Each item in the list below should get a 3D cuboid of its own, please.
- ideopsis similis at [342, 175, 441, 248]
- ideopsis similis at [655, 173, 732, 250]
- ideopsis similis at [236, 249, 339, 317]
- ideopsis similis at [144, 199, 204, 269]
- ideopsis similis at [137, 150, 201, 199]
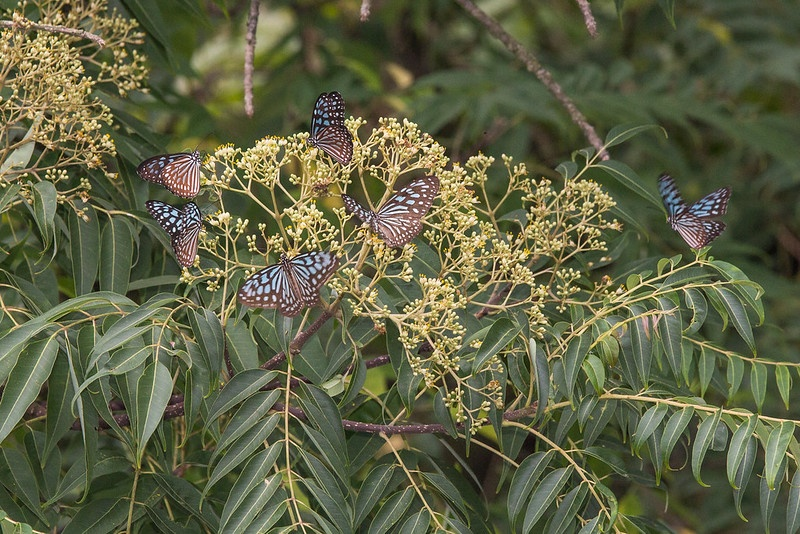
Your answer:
[{"bbox_3d":[-0.046,-0.215,4.180,0.350,0.193,0.101,-13,93,29],"label":"ideopsis similis"},{"bbox_3d":[1.032,-0.197,4.513,0.167,0.254,0.154,-11,95,1],"label":"ideopsis similis"},{"bbox_3d":[-0.345,0.066,4.109,0.373,0.031,0.228,-24,94,23],"label":"ideopsis similis"},{"bbox_3d":[-0.756,-0.133,4.212,0.101,0.206,0.221,-9,112,-26],"label":"ideopsis similis"},{"bbox_3d":[-0.776,-0.314,4.236,0.176,0.152,0.116,24,132,52],"label":"ideopsis similis"}]
